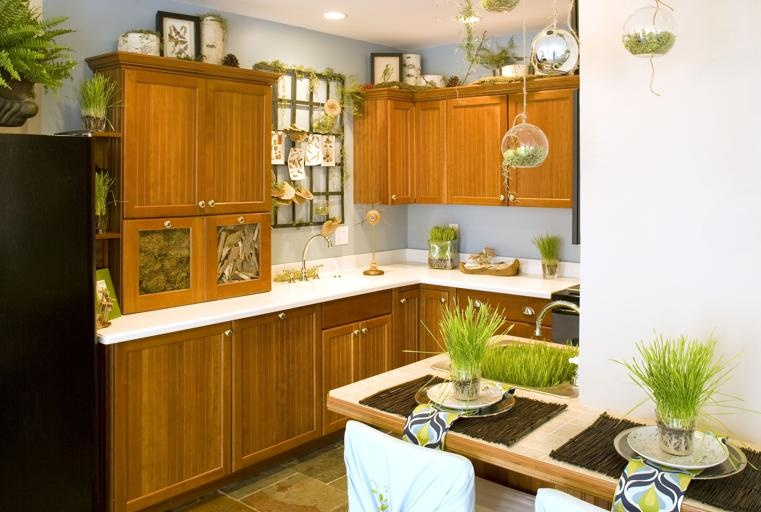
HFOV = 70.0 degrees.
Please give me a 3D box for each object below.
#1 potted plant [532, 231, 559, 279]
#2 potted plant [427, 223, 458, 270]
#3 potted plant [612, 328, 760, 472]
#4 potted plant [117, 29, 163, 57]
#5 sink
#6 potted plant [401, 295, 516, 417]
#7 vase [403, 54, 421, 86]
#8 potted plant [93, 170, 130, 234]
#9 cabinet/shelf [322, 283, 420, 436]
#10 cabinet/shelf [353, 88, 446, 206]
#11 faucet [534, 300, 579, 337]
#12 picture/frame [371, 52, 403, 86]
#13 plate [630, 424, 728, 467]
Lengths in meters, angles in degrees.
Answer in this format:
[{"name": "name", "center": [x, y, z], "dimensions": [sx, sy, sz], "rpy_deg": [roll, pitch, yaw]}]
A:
[{"name": "potted plant", "center": [1.374, 0.002, 4.560], "dimensions": [0.222, 0.328, 0.247], "rpy_deg": [3, 15, 24]}, {"name": "potted plant", "center": [0.563, -0.074, 4.941], "dimensions": [0.359, 0.522, 0.354], "rpy_deg": [0, -1, 3]}, {"name": "potted plant", "center": [0.952, 0.500, 1.792], "dimensions": [0.260, 0.307, 0.262], "rpy_deg": [-2, -8, 25]}, {"name": "potted plant", "center": [-1.491, -1.322, 3.374], "dimensions": [0.207, 0.105, 0.217], "rpy_deg": [1, 6, -1]}, {"name": "sink", "center": [0.736, 0.502, 2.556], "dimensions": [0.379, 0.156, 0.377], "rpy_deg": [3, 4, 41]}, {"name": "potted plant", "center": [0.340, 0.421, 2.174], "dimensions": [0.309, 0.326, 0.300], "rpy_deg": [4, 0, 18]}, {"name": "vase", "center": [0.282, -1.686, 4.937], "dimensions": [0.157, 0.280, 0.210], "rpy_deg": [-3, 13, 4]}, {"name": "potted plant", "center": [-1.629, -0.329, 3.247], "dimensions": [0.148, 0.375, 0.295], "rpy_deg": [-10, 15, -24]}, {"name": "cabinet/shelf", "center": [0.055, 0.797, 4.168], "dimensions": [1.070, 0.993, 0.359], "rpy_deg": [-20, -29, 36]}, {"name": "cabinet/shelf", "center": [0.158, -0.994, 5.111], "dimensions": [0.980, 0.987, 0.706], "rpy_deg": [-7, 14, -34]}, {"name": "faucet", "center": [0.809, 0.282, 2.473], "dimensions": [0.221, 0.136, 0.045], "rpy_deg": [-14, -20, 25]}, {"name": "picture/frame", "center": [0.046, -1.659, 4.842], "dimensions": [0.352, 0.403, 0.029], "rpy_deg": [0, -2, -12]}, {"name": "plate", "center": [0.956, 0.619, 1.740], "dimensions": [0.156, 0.023, 0.156], "rpy_deg": [0, 4, 5]}]
